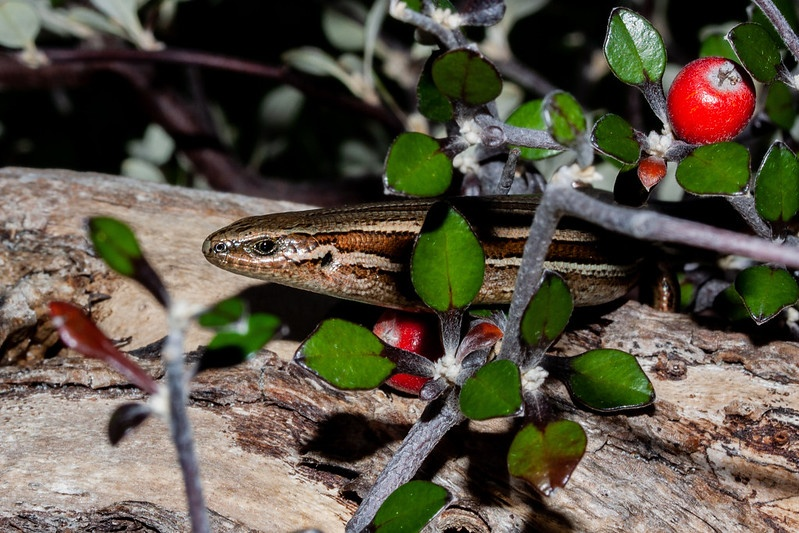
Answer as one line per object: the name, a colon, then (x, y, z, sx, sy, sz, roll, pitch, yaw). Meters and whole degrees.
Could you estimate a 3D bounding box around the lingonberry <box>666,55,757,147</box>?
lingonberry: (0.874, -0.457, 2.321, 0.231, 0.272, 0.239, -4, -2, 37)
